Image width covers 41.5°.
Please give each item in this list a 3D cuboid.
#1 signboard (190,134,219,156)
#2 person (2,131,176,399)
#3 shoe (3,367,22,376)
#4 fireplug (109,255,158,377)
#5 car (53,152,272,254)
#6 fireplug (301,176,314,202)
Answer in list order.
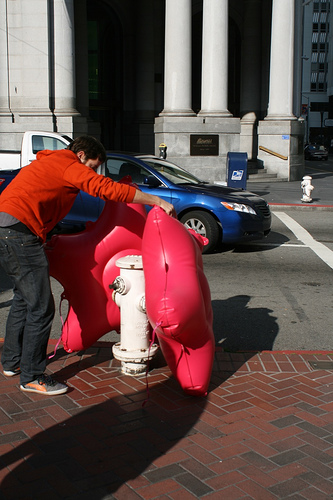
[{"bbox_3d":[1.623,-4.698,19.705,1.051,0.712,0.143,-1,2,-9],"label":"signboard"},{"bbox_3d":[-0.712,0.134,2.998,1.155,1.808,0.503,2,5,11],"label":"person"},{"bbox_3d":[-1.186,0.945,3.434,0.155,0.064,0.057,-6,13,-37],"label":"shoe"},{"bbox_3d":[-0.252,0.516,3.472,0.432,0.876,0.369,-2,2,-2],"label":"fireplug"},{"bbox_3d":[0.521,-0.909,8.697,4.644,1.521,1.914,1,5,10],"label":"car"},{"bbox_3d":[5.001,-2.173,15.745,0.369,0.920,1.013,2,5,17],"label":"fireplug"}]
